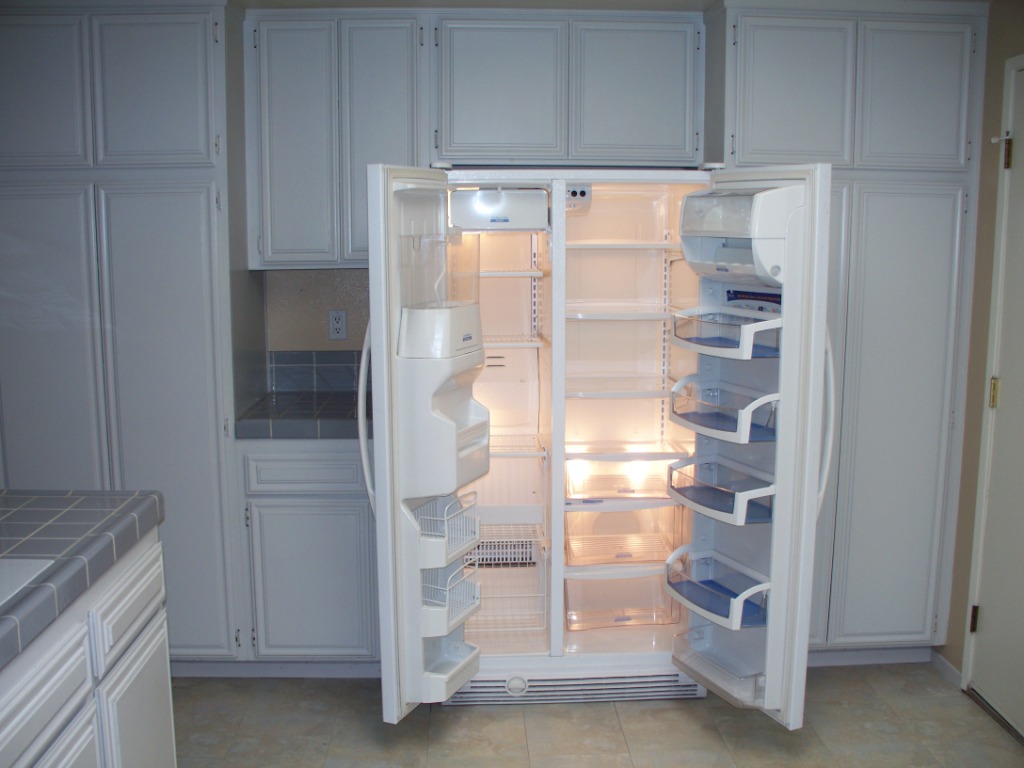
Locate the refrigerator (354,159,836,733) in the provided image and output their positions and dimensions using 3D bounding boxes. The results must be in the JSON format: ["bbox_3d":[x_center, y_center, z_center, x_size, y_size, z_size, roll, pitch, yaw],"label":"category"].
[{"bbox_3d":[0.354,0.228,3.405,1.721,2.182,0.997,-2,12,-1],"label":"refrigerator"}]

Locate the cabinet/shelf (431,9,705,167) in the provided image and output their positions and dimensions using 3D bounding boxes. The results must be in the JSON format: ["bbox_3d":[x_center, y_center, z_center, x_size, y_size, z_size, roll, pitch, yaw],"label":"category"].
[{"bbox_3d":[0.201,-1.315,3.657,0.844,0.422,0.248,0,3,0],"label":"cabinet/shelf"}]
